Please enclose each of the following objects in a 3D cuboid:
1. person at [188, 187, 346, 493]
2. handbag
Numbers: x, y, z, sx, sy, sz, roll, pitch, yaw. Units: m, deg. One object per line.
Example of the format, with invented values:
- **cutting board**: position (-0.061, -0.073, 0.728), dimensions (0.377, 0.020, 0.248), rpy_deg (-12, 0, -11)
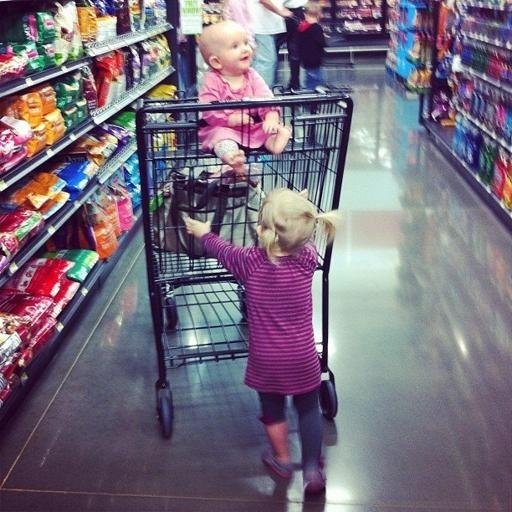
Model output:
- **person**: position (0.055, 0.249, 1.342), dimensions (0.502, 0.948, 0.331), rpy_deg (14, 28, 29)
- **handbag**: position (-0.161, -0.186, 1.468), dimensions (0.218, 0.304, 0.336), rpy_deg (-2, 30, -14)
